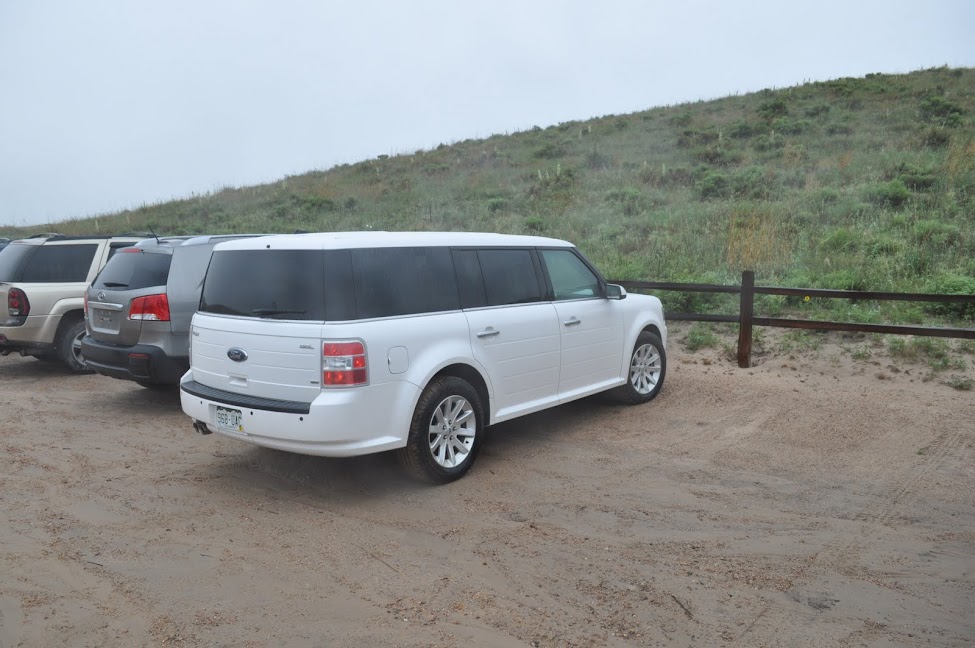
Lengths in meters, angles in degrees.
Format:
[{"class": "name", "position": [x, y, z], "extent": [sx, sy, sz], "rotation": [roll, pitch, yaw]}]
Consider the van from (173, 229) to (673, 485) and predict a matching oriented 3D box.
[{"class": "van", "position": [-0.376, -0.096, 7.904], "extent": [2.562, 1.931, 5.277], "rotation": [9, 15, 43]}]
